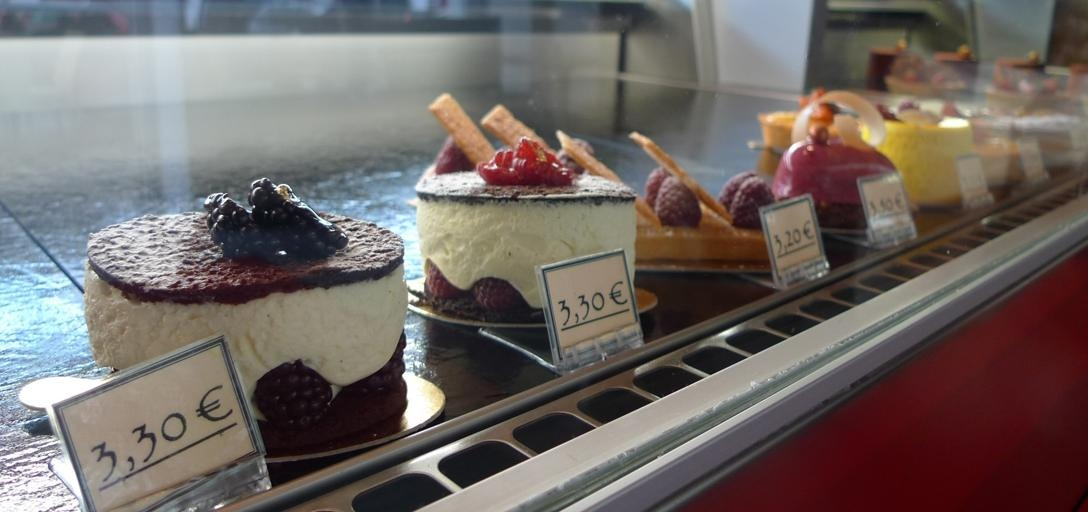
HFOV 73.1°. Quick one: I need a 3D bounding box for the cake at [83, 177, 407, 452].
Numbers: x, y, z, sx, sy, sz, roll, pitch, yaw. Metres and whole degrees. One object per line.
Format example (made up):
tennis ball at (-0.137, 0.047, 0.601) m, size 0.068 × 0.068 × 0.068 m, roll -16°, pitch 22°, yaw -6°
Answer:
cake at (-0.588, 0.130, 1.847) m, size 0.746 × 0.426 × 0.670 m, roll 8°, pitch 19°, yaw 15°
